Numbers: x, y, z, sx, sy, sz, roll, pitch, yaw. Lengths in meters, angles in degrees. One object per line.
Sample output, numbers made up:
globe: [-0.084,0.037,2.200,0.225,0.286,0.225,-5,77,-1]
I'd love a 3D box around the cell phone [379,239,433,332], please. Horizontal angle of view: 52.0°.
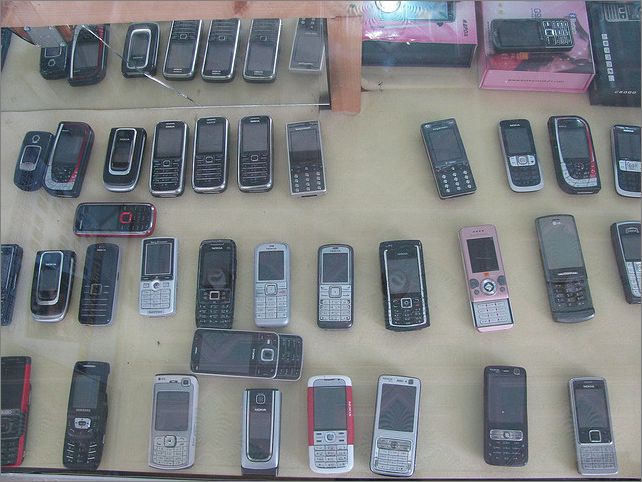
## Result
cell phone: [0.212,0.111,1.685,0.109,0.137,0.182,-3,44,-4]

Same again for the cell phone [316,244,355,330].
cell phone: [0.037,0.115,1.691,0.090,0.125,0.171,1,44,0]

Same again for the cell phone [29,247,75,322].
cell phone: [-0.695,0.109,1.698,0.093,0.045,0.182,0,75,4]

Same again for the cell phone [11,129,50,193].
cell phone: [-0.773,-0.218,1.760,0.074,0.044,0.169,1,76,5]

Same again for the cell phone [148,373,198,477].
cell phone: [-0.365,0.443,1.625,0.111,0.126,0.178,0,44,0]

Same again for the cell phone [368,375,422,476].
cell phone: [0.184,0.448,1.606,0.103,0.051,0.239,2,78,8]

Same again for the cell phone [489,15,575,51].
cell phone: [0.550,-0.548,1.730,0.195,0.053,0.098,0,90,2]

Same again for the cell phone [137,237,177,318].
cell phone: [-0.423,0.094,1.709,0.093,0.131,0.160,-1,43,-1]

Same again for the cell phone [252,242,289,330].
cell phone: [-0.128,0.109,1.696,0.088,0.124,0.165,0,44,-1]

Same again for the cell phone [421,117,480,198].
cell phone: [0.338,-0.222,1.755,0.095,0.125,0.182,-11,45,-12]

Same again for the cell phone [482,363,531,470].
cell phone: [0.451,0.430,1.619,0.102,0.139,0.190,2,44,2]

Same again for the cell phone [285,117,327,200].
cell phone: [-0.042,-0.221,1.755,0.089,0.119,0.155,-5,44,-6]

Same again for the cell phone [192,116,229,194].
cell phone: [-0.296,-0.229,1.771,0.091,0.138,0.163,0,43,0]

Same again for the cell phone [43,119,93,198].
cell phone: [-0.680,-0.227,1.774,0.092,0.051,0.212,8,75,-1]

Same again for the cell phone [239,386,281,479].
cell phone: [-0.147,0.467,1.613,0.095,0.123,0.160,1,44,0]

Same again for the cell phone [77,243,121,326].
cell phone: [-0.576,0.112,1.694,0.082,0.049,0.201,1,78,1]

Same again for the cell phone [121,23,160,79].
cell phone: [-0.490,-0.515,1.786,0.084,0.032,0.133,0,92,1]

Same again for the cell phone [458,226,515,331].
cell phone: [0.423,0.095,1.694,0.099,0.171,0.217,-6,44,-7]

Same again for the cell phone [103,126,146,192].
cell phone: [-0.531,-0.218,1.777,0.093,0.121,0.137,5,44,5]

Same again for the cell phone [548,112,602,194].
cell phone: [0.674,-0.229,1.760,0.104,0.135,0.183,-3,44,-4]

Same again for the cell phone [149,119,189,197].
cell phone: [-0.409,-0.221,1.770,0.084,0.132,0.156,2,43,2]
